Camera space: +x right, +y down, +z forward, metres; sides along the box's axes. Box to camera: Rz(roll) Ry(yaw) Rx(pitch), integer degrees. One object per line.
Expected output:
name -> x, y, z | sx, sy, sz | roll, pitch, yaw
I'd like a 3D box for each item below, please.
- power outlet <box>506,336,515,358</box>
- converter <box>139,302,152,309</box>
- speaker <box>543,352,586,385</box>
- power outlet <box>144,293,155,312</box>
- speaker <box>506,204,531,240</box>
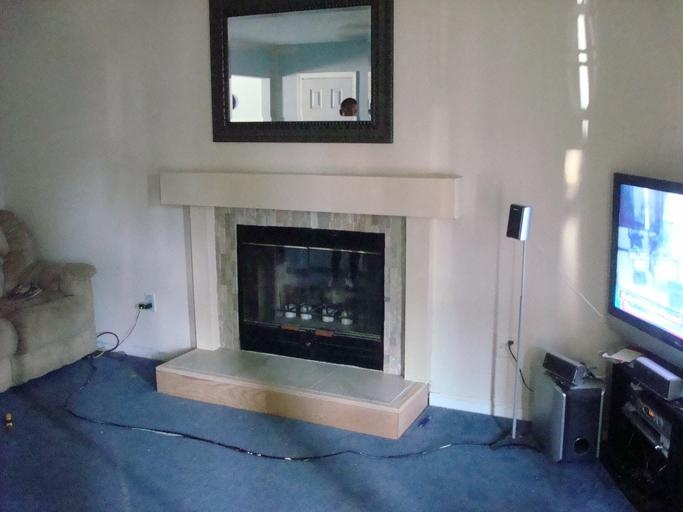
power outlet -> 1.060, 0.570, 3.649 | 0.065, 0.101, 0.026 | -11, -2, 17
converter -> -1.511, 0.375, 4.505 | 0.070, 0.030, 0.055 | -7, 12, -26
speaker -> 1.235, 0.623, 3.254 | 0.128, 0.137, 0.247 | 23, -2, -28
power outlet -> -1.485, 0.355, 4.498 | 0.127, 0.142, 0.068 | 2, 3, 32
speaker -> 1.010, -0.193, 3.317 | 0.070, 0.232, 0.154 | -3, 16, -39
